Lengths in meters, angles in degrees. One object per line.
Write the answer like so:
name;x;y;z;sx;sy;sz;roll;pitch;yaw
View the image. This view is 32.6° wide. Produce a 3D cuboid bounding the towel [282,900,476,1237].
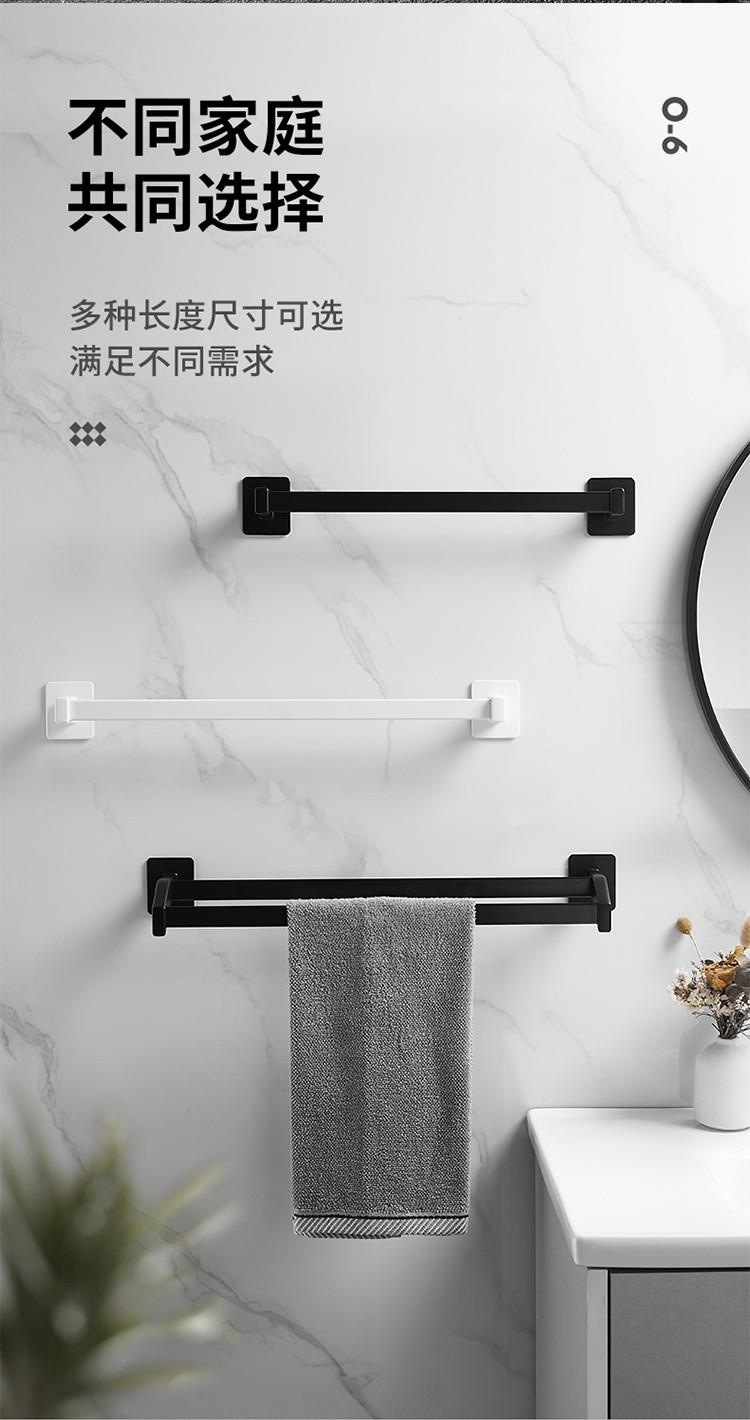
towel;0.002;0.385;1.378;0.203;0.323;0.172;3;28;-3
